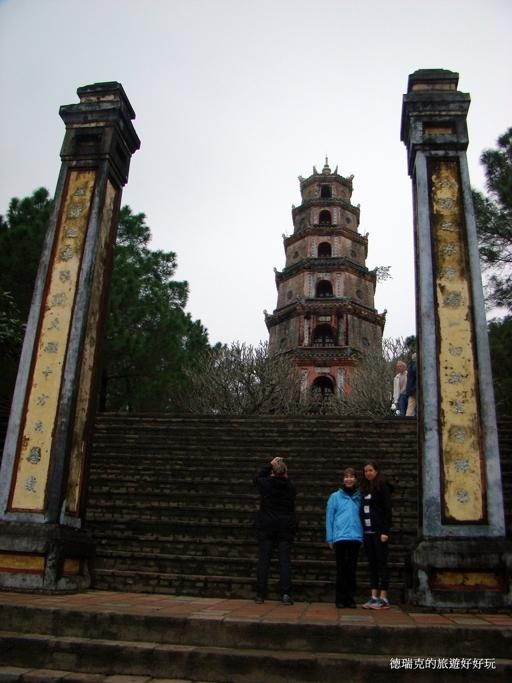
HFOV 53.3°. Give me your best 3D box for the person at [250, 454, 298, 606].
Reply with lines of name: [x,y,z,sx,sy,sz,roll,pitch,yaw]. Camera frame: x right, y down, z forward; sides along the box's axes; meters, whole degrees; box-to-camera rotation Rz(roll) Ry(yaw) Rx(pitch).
person: [0.159,1.544,4.232,0.347,1.131,0.322,-2,-22,8]

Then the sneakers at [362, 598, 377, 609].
sneakers: [0.844,1.944,3.753,0.046,0.054,0.132,-22,-27,37]

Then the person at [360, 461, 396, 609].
person: [0.948,1.491,3.976,0.258,1.058,0.263,-4,-23,12]

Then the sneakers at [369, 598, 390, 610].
sneakers: [0.902,1.935,3.733,0.155,0.058,0.058,0,-19,1]

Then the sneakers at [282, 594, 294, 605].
sneakers: [0.243,1.986,3.902,0.077,0.071,0.156,0,-21,4]

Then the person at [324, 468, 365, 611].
person: [0.720,1.546,4.059,0.287,1.026,0.304,4,-22,-7]
